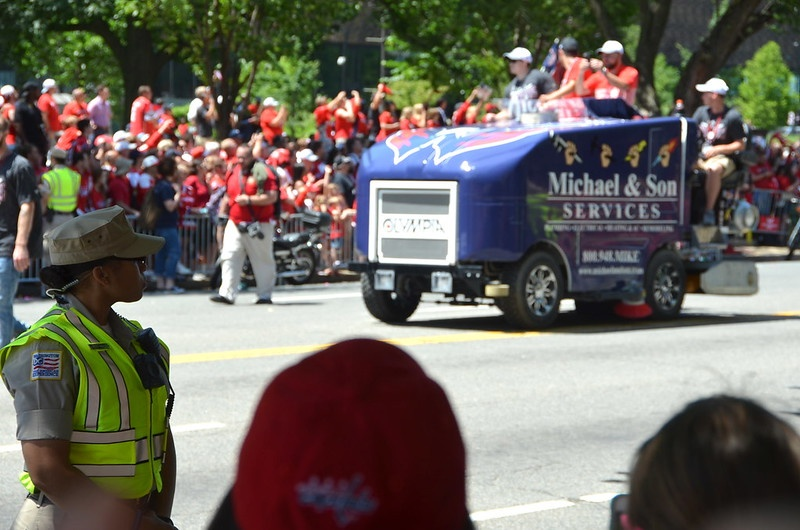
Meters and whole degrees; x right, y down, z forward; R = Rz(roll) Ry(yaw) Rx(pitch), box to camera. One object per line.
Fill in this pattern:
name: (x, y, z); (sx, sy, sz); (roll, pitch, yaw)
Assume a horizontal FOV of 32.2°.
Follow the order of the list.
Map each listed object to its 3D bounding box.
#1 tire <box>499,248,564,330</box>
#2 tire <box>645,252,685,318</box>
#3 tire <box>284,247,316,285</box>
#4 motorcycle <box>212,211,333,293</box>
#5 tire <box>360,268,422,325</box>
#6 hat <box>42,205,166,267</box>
tire: (1.803, 0.335, 17.405); (0.293, 0.945, 0.908); (-1, 6, -38)
tire: (3.477, 0.287, 18.509); (0.251, 0.809, 0.780); (4, 8, 43)
tire: (-1.675, 0.021, 22.856); (0.560, 0.590, 0.219); (2, 8, -14)
motorcycle: (-1.949, -0.258, 23.025); (1.683, 1.142, 1.083); (-2, 1, -26)
tire: (-0.126, 0.412, 18.039); (0.638, 0.665, 0.230); (-7, 11, -36)
hat: (-1.917, -0.173, 8.944); (0.574, 0.238, 0.404); (-5, 10, -18)
